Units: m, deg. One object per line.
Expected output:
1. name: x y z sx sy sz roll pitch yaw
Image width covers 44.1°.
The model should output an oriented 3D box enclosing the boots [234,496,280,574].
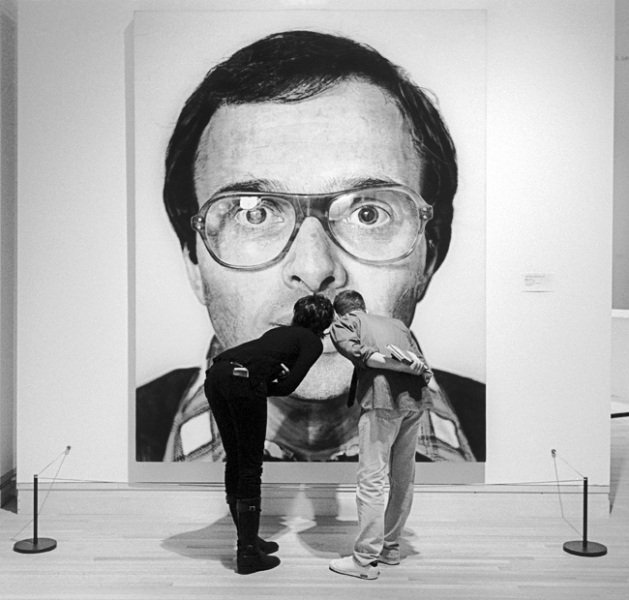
1. boots: -0.309 1.217 4.041 0.198 0.407 0.410 -4 -14 27

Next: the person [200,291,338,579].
1. person: -0.238 0.667 4.000 0.643 1.379 0.303 -1 6 -8

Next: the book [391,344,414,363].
1. book: 0.421 0.262 3.789 0.122 0.089 0.052 -1 6 -9

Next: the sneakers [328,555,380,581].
1. sneakers: 0.197 1.343 3.956 0.254 0.109 0.097 6 -3 23

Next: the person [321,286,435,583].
1. person: 0.334 0.669 4.007 0.500 1.397 0.438 1 6 8
